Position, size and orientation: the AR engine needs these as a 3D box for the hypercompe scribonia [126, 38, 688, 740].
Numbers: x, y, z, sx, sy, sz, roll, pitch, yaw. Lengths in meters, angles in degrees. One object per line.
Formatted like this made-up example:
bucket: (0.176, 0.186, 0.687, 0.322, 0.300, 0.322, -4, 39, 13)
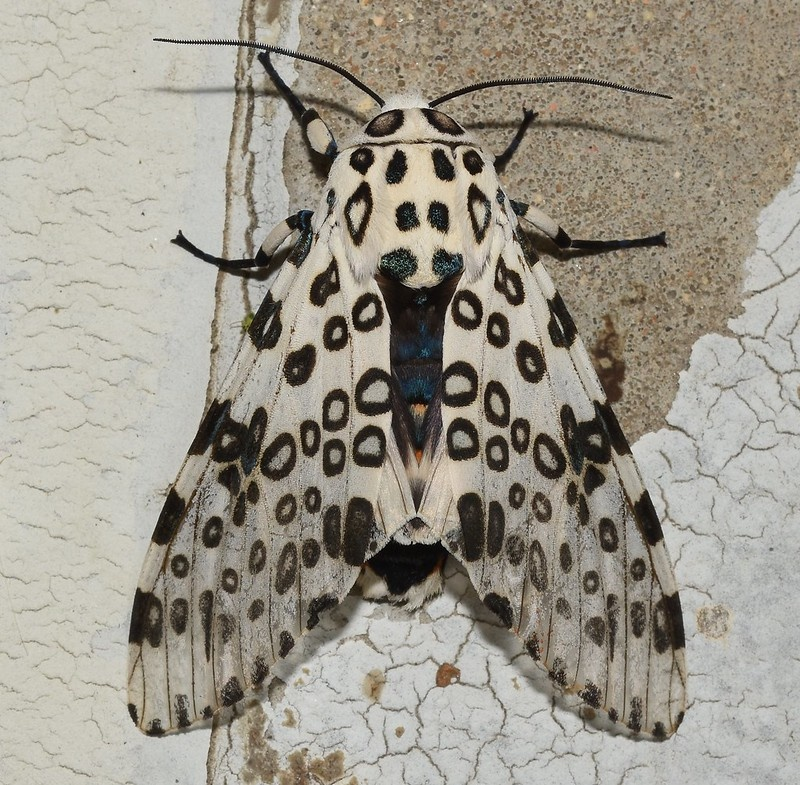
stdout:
hypercompe scribonia: (0.073, 0.107, 6.982, 2.026, 0.670, 3.015, 0, 89, 2)
